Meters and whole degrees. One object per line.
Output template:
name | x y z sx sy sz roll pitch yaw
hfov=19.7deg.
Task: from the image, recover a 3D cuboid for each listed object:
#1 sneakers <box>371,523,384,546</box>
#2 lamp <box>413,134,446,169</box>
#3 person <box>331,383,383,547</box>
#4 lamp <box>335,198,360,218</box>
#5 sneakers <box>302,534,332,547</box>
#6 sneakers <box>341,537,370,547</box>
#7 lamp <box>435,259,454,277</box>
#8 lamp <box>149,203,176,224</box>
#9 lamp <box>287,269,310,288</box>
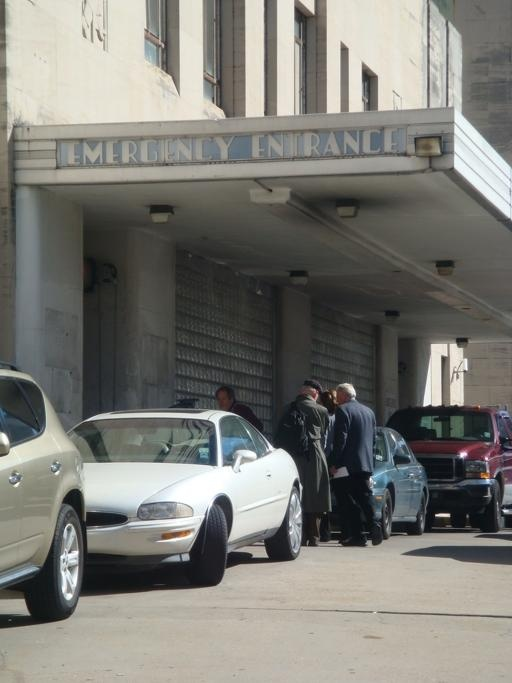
sneakers | 1.241 1.968 15.122 0.082 0.297 0.111 -2 5 13
lamp | 1.635 -1.780 13.810 0.225 0.399 0.120 -1 -1 16
person | 1.028 1.289 15.351 0.513 1.680 0.485 -2 -3 9
lamp | 0.985 -1.421 15.888 0.144 0.175 0.203 1 -11 7
sneakers | 0.635 2.104 15.606 0.165 0.130 0.179 7 16 -31
sneakers | 1.026 2.077 15.291 0.265 0.161 0.115 4 -4 11
lamp | 2.629 -1.032 20.495 0.214 0.233 0.170 1 -16 5
lamp | -1.046 -1.422 16.395 0.161 0.178 0.199 -2 -7 10
lamp | 0.642 -0.950 22.115 0.295 0.174 0.826 -3 -5 2
